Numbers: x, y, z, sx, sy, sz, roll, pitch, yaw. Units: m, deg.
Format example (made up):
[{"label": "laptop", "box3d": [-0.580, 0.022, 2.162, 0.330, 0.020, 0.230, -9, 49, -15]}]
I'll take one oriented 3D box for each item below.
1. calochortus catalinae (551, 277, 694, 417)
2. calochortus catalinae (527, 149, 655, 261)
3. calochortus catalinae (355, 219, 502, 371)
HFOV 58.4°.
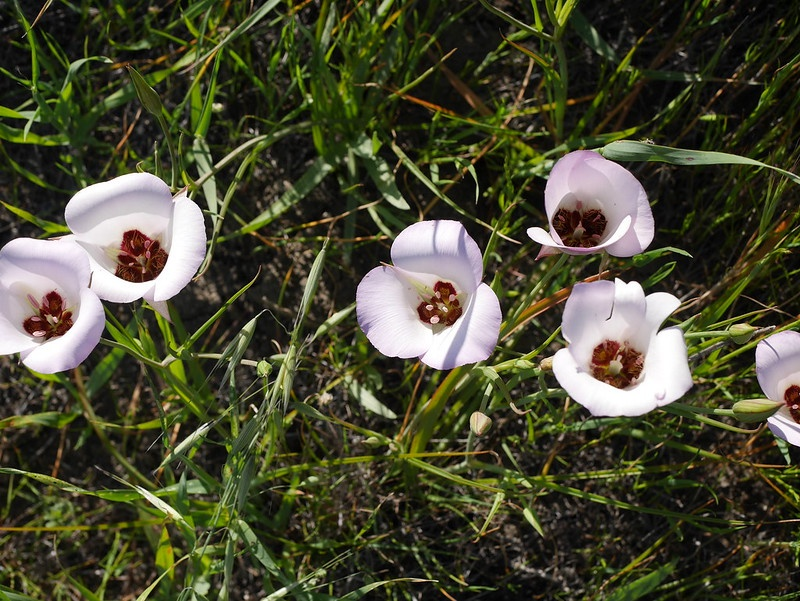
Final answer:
[{"label": "calochortus catalinae", "box3d": [0.802, 0.157, 2.697, 0.486, 0.271, 0.580, -11, 73, -2]}, {"label": "calochortus catalinae", "box3d": [0.750, -0.315, 2.824, 0.435, 0.220, 0.464, 16, 73, 2]}, {"label": "calochortus catalinae", "box3d": [0.126, 0.015, 2.670, 0.549, 0.319, 0.483, 43, 70, 8]}]
